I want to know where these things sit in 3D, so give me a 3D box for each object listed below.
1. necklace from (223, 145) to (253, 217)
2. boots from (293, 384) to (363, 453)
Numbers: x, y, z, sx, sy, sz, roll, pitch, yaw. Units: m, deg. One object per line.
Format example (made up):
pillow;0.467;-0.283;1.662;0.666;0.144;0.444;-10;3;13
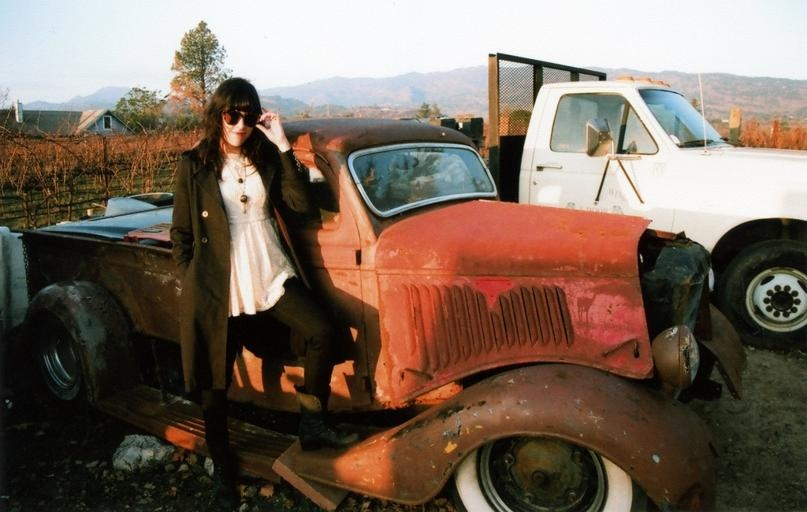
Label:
necklace;-1.246;-0.533;3.903;0.244;0.470;0.153;0;1;-16
boots;-0.636;1.269;4.086;0.683;0.573;0.251;-2;4;-8
